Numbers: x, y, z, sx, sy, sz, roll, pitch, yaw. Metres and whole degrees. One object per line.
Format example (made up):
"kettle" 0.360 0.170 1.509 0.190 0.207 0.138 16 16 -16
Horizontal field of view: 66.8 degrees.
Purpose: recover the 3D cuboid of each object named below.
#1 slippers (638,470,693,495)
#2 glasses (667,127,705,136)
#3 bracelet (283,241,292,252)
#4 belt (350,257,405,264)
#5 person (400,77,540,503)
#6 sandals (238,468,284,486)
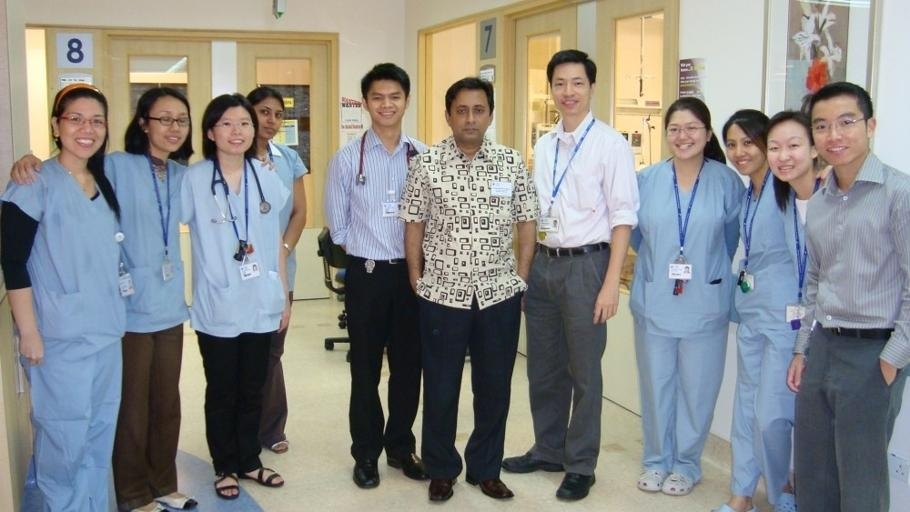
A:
"slippers" 1.426 1.551 4.709 0.312 0.112 0.156 12 1 -13
"glasses" 1.485 -0.812 4.477 0.226 0.052 0.053 1 12 13
"bracelet" -1.203 -0.063 4.999 0.016 0.057 0.061 -40 48 -11
"belt" -0.522 0.029 4.551 0.372 0.062 0.068 0 11 6
"person" 0.098 0.264 4.460 0.853 2.757 0.362 -1 12 5
"sandals" -1.338 1.518 4.778 0.286 0.087 0.132 3 16 11
